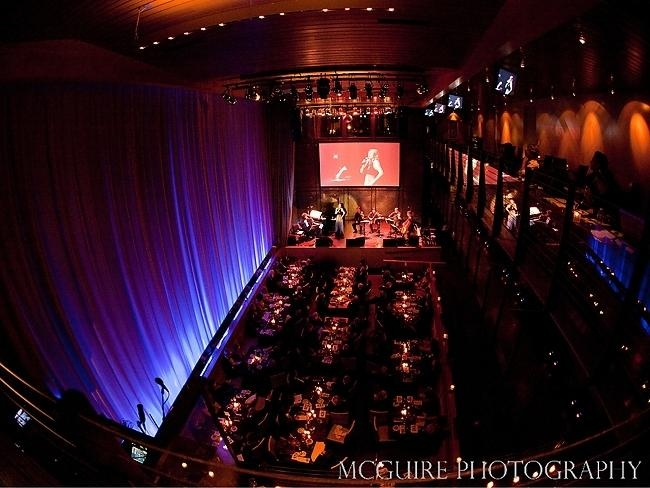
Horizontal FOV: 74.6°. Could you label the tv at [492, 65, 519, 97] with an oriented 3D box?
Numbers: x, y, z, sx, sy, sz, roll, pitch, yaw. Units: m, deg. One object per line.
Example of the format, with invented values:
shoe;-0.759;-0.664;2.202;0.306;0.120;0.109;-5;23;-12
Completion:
tv;3.746;-3.375;8.900;0.791;0.529;0.258;-16;21;-39
